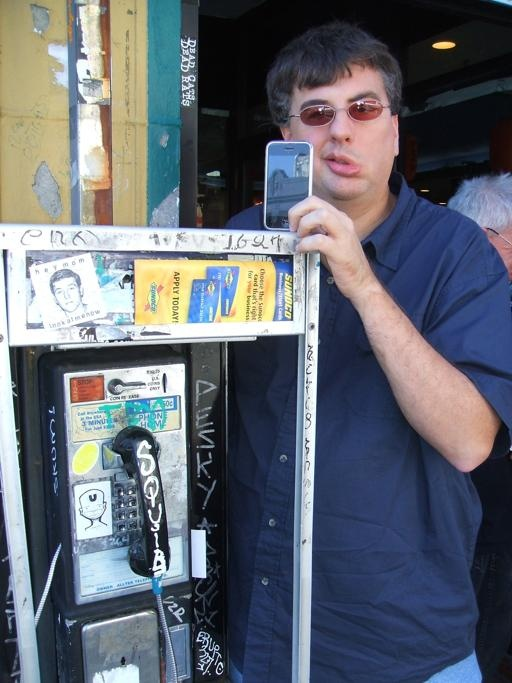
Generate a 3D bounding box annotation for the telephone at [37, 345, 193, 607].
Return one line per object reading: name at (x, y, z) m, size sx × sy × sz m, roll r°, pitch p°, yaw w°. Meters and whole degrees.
telephone at (-0.226, 0.243, 1.187) m, size 0.242 × 0.429 × 0.056 m, roll -7°, pitch 7°, yaw -38°

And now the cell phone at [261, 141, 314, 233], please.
cell phone at (0.046, -0.251, 1.092) m, size 0.052 × 0.128 × 0.098 m, roll -9°, pitch 24°, yaw -26°
